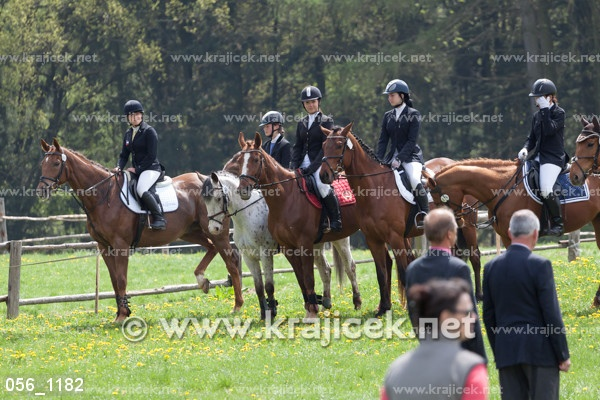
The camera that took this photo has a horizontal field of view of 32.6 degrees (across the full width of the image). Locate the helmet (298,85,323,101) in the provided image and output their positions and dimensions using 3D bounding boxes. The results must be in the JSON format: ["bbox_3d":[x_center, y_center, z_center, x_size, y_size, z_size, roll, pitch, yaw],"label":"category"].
[{"bbox_3d":[0.342,-3.202,30.722,0.582,0.408,0.443,-4,12,-2],"label":"helmet"}]

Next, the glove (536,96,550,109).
[{"bbox_3d":[7.092,-2.840,29.768,0.294,0.337,0.367,5,12,35],"label":"glove"}]

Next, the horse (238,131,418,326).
[{"bbox_3d":[0.236,0.998,31.981,1.890,5.573,6.987,-12,-8,26],"label":"horse"}]

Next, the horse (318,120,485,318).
[{"bbox_3d":[3.394,0.756,31.405,7.125,5.556,1.943,2,-9,-43],"label":"horse"}]

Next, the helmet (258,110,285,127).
[{"bbox_3d":[-0.819,-2.516,31.508,0.612,0.332,0.437,3,-2,-14],"label":"helmet"}]

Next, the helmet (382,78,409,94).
[{"bbox_3d":[2.893,-3.365,30.413,0.652,0.383,0.467,1,2,-13],"label":"helmet"}]

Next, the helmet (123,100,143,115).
[{"bbox_3d":[-5.090,-2.919,31.515,0.507,0.368,0.541,-3,-3,0],"label":"helmet"}]
